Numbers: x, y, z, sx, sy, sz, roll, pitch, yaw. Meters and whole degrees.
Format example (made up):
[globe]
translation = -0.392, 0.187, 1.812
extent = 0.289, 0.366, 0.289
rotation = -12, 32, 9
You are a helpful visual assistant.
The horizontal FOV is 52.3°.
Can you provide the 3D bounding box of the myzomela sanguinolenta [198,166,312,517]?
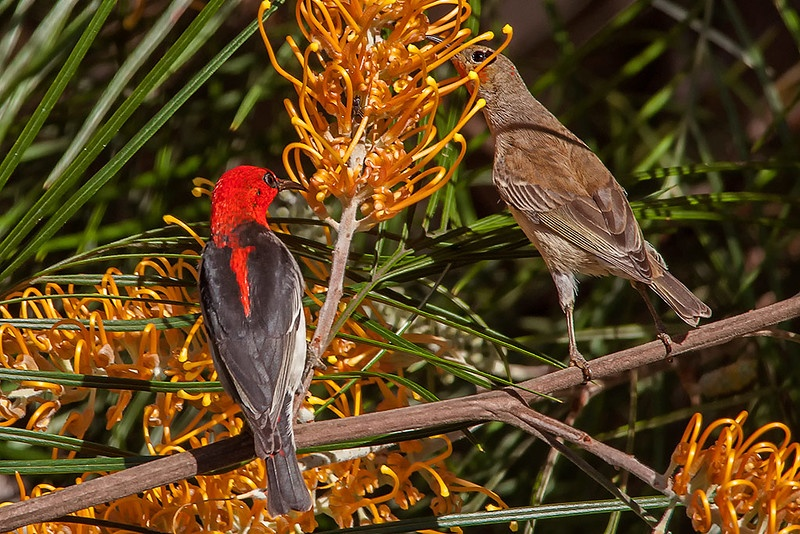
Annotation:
[myzomela sanguinolenta]
translation = -0.457, 0.231, 2.652
extent = 0.325, 1.036, 0.633
rotation = -6, -34, -13
